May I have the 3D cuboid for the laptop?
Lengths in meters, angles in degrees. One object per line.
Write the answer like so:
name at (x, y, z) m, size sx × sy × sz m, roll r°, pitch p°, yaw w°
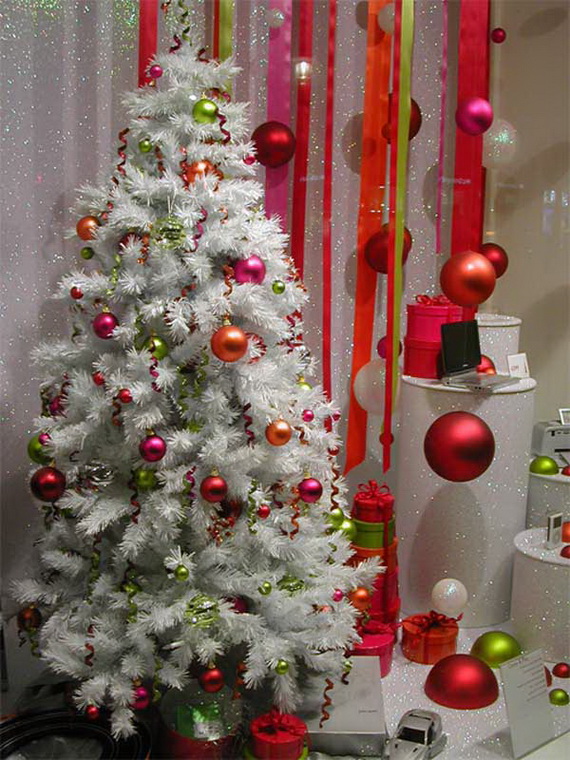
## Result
laptop at (0.627, -0.074, 2.217) m, size 0.178 × 0.188 × 0.220 m, roll 13°, pitch 16°, yaw 40°
